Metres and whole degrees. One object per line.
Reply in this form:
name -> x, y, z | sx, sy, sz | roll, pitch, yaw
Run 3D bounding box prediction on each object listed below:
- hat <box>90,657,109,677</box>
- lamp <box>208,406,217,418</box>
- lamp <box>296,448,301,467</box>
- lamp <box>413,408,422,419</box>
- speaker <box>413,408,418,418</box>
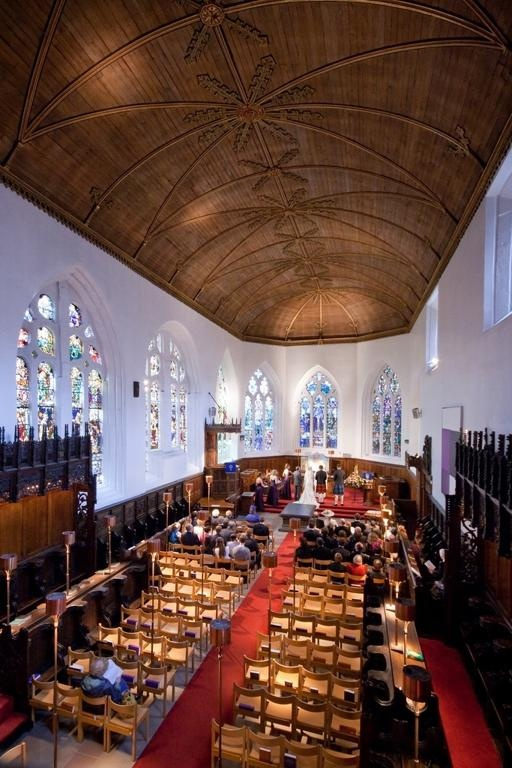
hat -> -1.903, 3.355, 6.082 | 0.135, 0.199, 0.185 | 13, 15, 33
lamp -> -1.813, 1.080, 20.341 | 0.089, 0.403, 0.256 | 11, 10, 38
lamp -> 2.138, 3.744, 26.288 | 0.281, 0.876, 0.788 | 0, -4, 2
lamp -> 5.888, 1.020, 18.437 | 0.185, 0.391, 0.372 | 6, -8, 3
speaker -> 5.934, 1.025, 18.823 | 0.171, 0.350, 0.331 | 3, -8, 8
